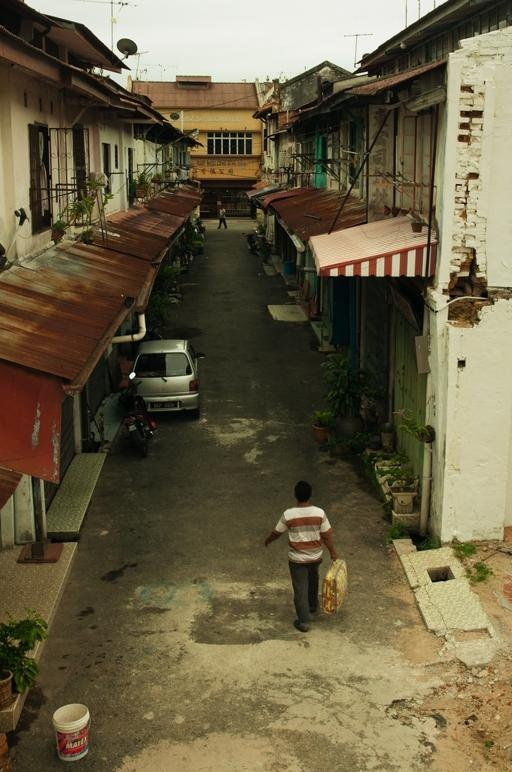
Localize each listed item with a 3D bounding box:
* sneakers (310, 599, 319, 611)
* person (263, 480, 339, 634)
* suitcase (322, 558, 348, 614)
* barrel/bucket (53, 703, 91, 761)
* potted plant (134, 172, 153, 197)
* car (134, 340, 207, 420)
[{"bbox_3d":[0.657,2.479,7.564,0.054,0.111,0.164,-1,0,5],"label":"sneakers"},{"bbox_3d":[0.502,1.784,7.122,0.617,1.600,0.432,-7,11,-36],"label":"person"},{"bbox_3d":[0.831,2.112,7.164,0.154,0.450,0.459,0,10,20],"label":"suitcase"},{"bbox_3d":[-1.368,2.635,5.169,0.319,0.357,0.355,1,9,-2],"label":"barrel/bucket"},{"bbox_3d":[-3.934,-7.016,23.380,0.484,0.959,1.874,-2,10,-9],"label":"potted plant"},{"bbox_3d":[-2.188,-0.432,16.561,1.953,1.618,3.518,-2,17,-7],"label":"car"}]
